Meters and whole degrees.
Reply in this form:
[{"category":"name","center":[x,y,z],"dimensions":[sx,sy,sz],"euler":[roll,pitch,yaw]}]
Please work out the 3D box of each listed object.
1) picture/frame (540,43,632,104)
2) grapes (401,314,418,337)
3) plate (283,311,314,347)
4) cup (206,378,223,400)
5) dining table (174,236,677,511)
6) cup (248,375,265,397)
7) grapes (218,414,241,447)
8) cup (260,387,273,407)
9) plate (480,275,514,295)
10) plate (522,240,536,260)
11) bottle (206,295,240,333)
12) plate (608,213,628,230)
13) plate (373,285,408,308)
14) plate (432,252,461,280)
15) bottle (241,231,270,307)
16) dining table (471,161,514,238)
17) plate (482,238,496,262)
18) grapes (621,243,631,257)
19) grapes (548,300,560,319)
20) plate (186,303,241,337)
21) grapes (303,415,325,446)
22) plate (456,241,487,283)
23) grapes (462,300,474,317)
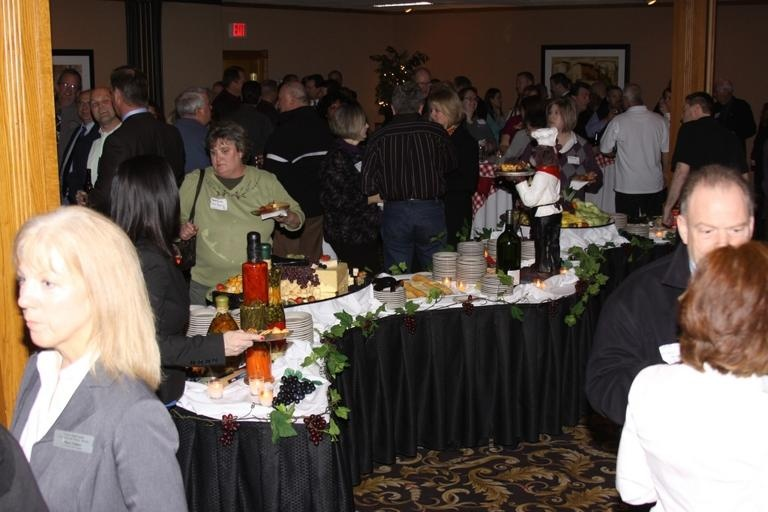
[{"category":"picture/frame","center":[3.709,-3.373,11.479],"dimensions":[1.595,1.176,0.087],"euler":[11,49,27]},{"category":"grapes","center":[0.124,0.353,3.214],"dimensions":[0.055,0.146,0.051],"euler":[12,37,26]},{"category":"plate","center":[-0.372,0.313,2.727],"dimensions":[0.124,0.082,0.126],"euler":[0,4,-11]},{"category":"cup","center":[-0.655,0.503,2.365],"dimensions":[0.062,0.063,0.056],"euler":[3,3,35]},{"category":"dining table","center":[0.527,0.628,3.528],"dimensions":[2.786,0.643,0.687],"euler":[-13,0,21]},{"category":"cup","center":[-0.489,0.492,2.366],"dimensions":[0.060,0.073,0.062],"euler":[0,2,0]},{"category":"grapes","center":[-0.554,0.618,2.217],"dimensions":[0.063,0.114,0.048],"euler":[12,3,15]},{"category":"cup","center":[-0.436,0.526,2.345],"dimensions":[0.052,0.062,0.056],"euler":[0,6,0]},{"category":"plate","center":[0.629,0.145,3.499],"dimensions":[0.126,0.072,0.128],"euler":[1,-1,-19]},{"category":"plate","center":[0.911,-0.048,3.956],"dimensions":[0.101,0.120,0.102],"euler":[-2,-4,31]},{"category":"bottle","center":[-0.626,0.218,2.387],"dimensions":[0.103,0.185,0.293],"euler":[-4,14,-17]},{"category":"plate","center":[1.885,-0.296,5.013],"dimensions":[0.142,0.116,0.154],"euler":[-2,8,-4]},{"category":"plate","center":[0.043,0.213,3.260],"dimensions":[0.127,0.057,0.125],"euler":[-8,11,-44]},{"category":"plate","center":[0.365,0.051,3.677],"dimensions":[0.145,0.162,0.152],"euler":[0,4,-3]},{"category":"bottle","center":[-0.491,0.035,2.355],"dimensions":[0.099,0.254,0.253],"euler":[-3,13,-11]},{"category":"dining table","center":[1.234,-0.580,6.524],"dimensions":[0.248,0.742,0.274],"euler":[6,17,-6]},{"category":"plate","center":[0.658,-0.044,3.914],"dimensions":[0.124,0.147,0.128],"euler":[-1,6,2]},{"category":"grapes","center":[1.833,-0.054,4.714],"dimensions":[0.073,0.108,0.031],"euler":[2,0,-14]},{"category":"grapes","center":[0.954,0.292,3.493],"dimensions":[0.069,0.083,0.025],"euler":[-3,10,-39]},{"category":"plate","center":[-0.694,0.259,2.516],"dimensions":[0.143,0.062,0.148],"euler":[0,4,-3]},{"category":"grapes","center":[-0.250,0.601,2.212],"dimensions":[0.063,0.108,0.050],"euler":[-14,23,-16]},{"category":"plate","center":[0.505,0.038,3.658],"dimensions":[0.193,0.227,0.217],"euler":[0,2,-1]},{"category":"grapes","center":[0.453,0.275,3.336],"dimensions":[0.069,0.098,0.048],"euler":[-3,13,-14]}]
